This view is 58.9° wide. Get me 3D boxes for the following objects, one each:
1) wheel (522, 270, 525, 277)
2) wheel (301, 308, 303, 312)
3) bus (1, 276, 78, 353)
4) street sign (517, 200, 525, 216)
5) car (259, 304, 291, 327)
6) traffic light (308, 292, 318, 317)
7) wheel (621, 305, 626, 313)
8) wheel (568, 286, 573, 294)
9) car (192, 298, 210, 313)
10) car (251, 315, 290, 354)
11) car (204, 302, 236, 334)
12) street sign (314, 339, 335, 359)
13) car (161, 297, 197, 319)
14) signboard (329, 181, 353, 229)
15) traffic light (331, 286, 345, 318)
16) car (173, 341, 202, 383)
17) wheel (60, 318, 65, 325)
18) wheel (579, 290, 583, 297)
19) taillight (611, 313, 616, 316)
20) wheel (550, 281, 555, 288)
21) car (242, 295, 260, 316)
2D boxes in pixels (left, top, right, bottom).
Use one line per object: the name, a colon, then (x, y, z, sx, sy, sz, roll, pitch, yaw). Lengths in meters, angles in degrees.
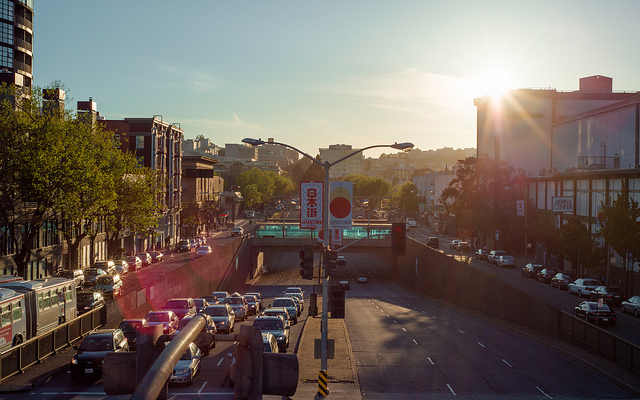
wheel: (31.581, 11.381, 87.327, 0.195, 0.753, 1.374, 3, 6, 13)
wheel: (-2.122, 13.993, 72.114, 0.295, 0.301, 0.286, 0, -7, 0)
bus: (-24.002, 9.171, 48.006, 1.644, 4.511, 9.167, 2, 6, 11)
street sign: (34.892, 1.405, 97.767, 1.042, 2.272, 1.091, 3, 6, 16)
car: (-4.005, 11.479, 56.567, 1.785, 1.607, 4.176, -1, -15, 3)
traffic light: (-0.413, 7.706, 41.555, 0.468, 1.593, 1.031, 0, 6, -6)
wheel: (35.381, 12.629, 65.788, 0.211, 0.997, 0.886, 2, 6, 7)
wheel: (33.467, 12.013, 75.341, 0.341, 1.084, 1.026, 1, -2, 6)
car: (-12.005, 10.717, 57.673, 1.158, 1.018, 2.094, 0, -12, -5)
car: (-4.153, 11.294, 47.172, 2.934, 2.576, 5.823, -1, -11, 3)
car: (-9.149, 11.262, 52.585, 2.533, 2.366, 3.321, 0, 6, -15)
street sign: (0.411, 11.045, 41.771, 1.420, 1.574, 0.893, 1, 6, -6)
car: (-13.189, 10.452, 54.985, 1.537, 1.418, 2.696, -1, -12, 2)
signboard: (1.902, 0.604, 49.924, 1.953, 4.320, 2.759, 1, 6, -1)
traffic light: (1.363, 7.416, 41.276, 0.885, 2.254, 0.488, 0, 6, -11)
car: (-9.586, 11.968, 41.611, 1.151, 2.676, 2.262, 3, 6, 20)
wheel: (-23.148, 10.918, 51.116, 0.126, 0.573, 0.194, 11, 9, 26)
wheel: (33.651, 11.962, 72.736, 0.314, 1.062, 1.005, 2, -2, 11)
taillight: (30.780, 11.996, 59.140, 0.553, 0.149, 0.198, -1, 6, -23)
wheel: (32.893, 11.767, 79.813, 0.370, 0.780, 1.458, 3, 6, 12)
car: (-7.939, 12.268, 65.768, 1.757, 1.844, 4.104, 0, -12, 0)
